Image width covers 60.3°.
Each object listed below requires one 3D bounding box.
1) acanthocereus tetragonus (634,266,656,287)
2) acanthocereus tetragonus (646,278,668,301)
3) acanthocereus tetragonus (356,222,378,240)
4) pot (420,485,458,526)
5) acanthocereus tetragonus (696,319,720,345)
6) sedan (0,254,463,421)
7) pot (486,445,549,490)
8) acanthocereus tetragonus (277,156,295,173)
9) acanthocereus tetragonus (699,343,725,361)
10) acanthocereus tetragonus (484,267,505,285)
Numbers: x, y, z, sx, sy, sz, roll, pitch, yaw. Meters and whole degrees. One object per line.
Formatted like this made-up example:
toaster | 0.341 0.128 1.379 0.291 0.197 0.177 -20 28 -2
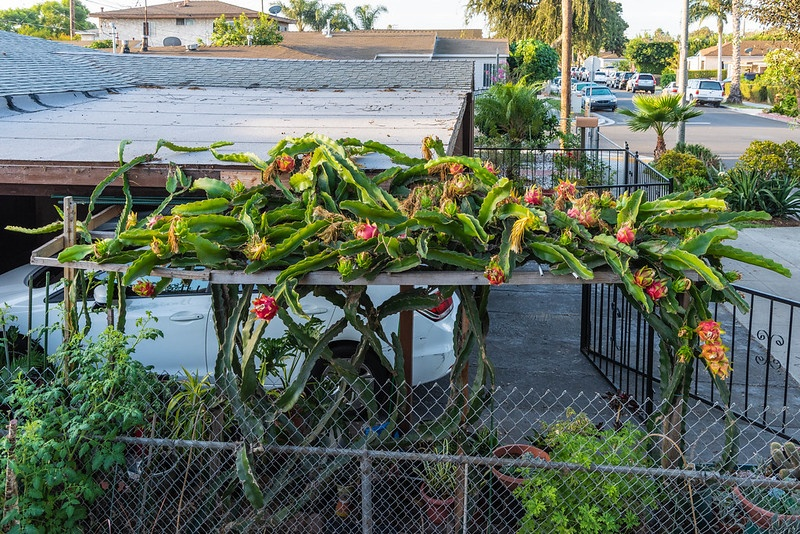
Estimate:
acanthocereus tetragonus | 1.798 0.072 5.132 0.126 0.121 0.159 -42 0 3
acanthocereus tetragonus | 1.893 0.171 5.147 0.149 0.153 0.123 -5 12 -17
acanthocereus tetragonus | -0.252 -0.267 5.193 0.130 0.084 0.123 4 61 20
pot | 0.346 2.117 6.025 0.292 0.243 0.310 0 14 0
acanthocereus tetragonus | 2.310 0.486 5.143 0.202 0.188 0.170 0 13 11
sedan | -1.826 0.630 7.875 4.305 1.541 2.003 5 11 0
pot | 1.071 1.748 6.218 0.496 0.192 0.499 -4 18 1
acanthocereus tetragonus | -0.938 -0.843 5.627 0.135 0.117 0.081 -31 26 20
acanthocereus tetragonus | 2.301 0.629 5.059 0.129 0.075 0.134 6 25 21
acanthocereus tetragonus | 0.705 0.063 5.087 0.123 0.121 0.129 10 59 28
